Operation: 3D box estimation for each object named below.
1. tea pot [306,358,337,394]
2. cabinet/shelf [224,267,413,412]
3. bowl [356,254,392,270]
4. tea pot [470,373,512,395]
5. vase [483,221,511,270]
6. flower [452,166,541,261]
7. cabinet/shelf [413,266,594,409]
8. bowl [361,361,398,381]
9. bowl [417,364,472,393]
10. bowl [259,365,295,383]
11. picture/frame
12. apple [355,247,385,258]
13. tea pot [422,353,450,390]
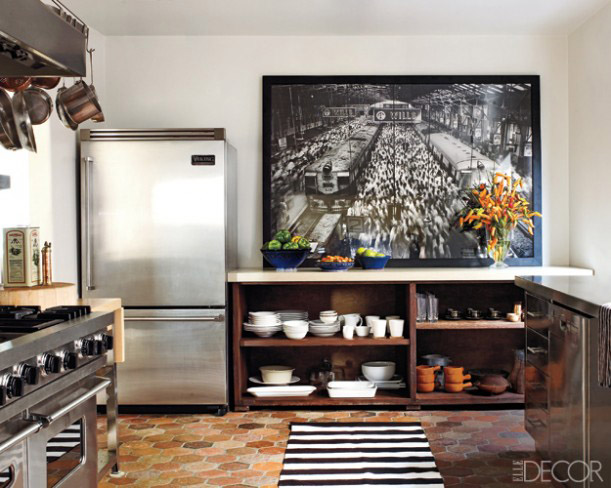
[{"bbox_3d":[0.113,1.038,4.017,0.201,0.162,0.264,0,-3,5],"label":"tea pot"},{"bbox_3d":[0.114,0.721,3.849,1.164,0.770,0.384,0,-3,0],"label":"cabinet/shelf"},{"bbox_3d":[0.503,0.136,3.844,0.222,0.105,0.111,0,3,14],"label":"bowl"},{"bbox_3d":[1.397,1.030,3.774,0.311,0.152,0.225,-1,3,-1],"label":"tea pot"},{"bbox_3d":[1.535,0.010,4.000,0.206,0.334,0.225,0,2,7],"label":"vase"},{"bbox_3d":[1.557,-0.226,4.021,0.630,0.737,0.248,-1,2,-5],"label":"flower"},{"bbox_3d":[1.308,0.773,4.146,1.193,0.916,0.352,2,-20,-22],"label":"cabinet/shelf"},{"bbox_3d":[0.579,1.000,4.004,0.253,0.142,0.271,-1,3,0],"label":"bowl"},{"bbox_3d":[1.042,1.018,3.877,0.422,0.163,0.206,1,0,3],"label":"bowl"},{"bbox_3d":[-0.232,1.006,3.967,0.249,0.112,0.300,-1,3,-7],"label":"bowl"},{"bbox_3d":[0.750,-0.593,4.090,1.744,1.074,0.045,0,-1,1],"label":"picture/frame"},{"bbox_3d":[0.481,0.060,3.853,0.099,0.052,0.149,2,7,-30],"label":"apple"},{"bbox_3d":[1.030,0.974,3.968,0.226,0.228,0.262,1,0,35],"label":"tea pot"}]
